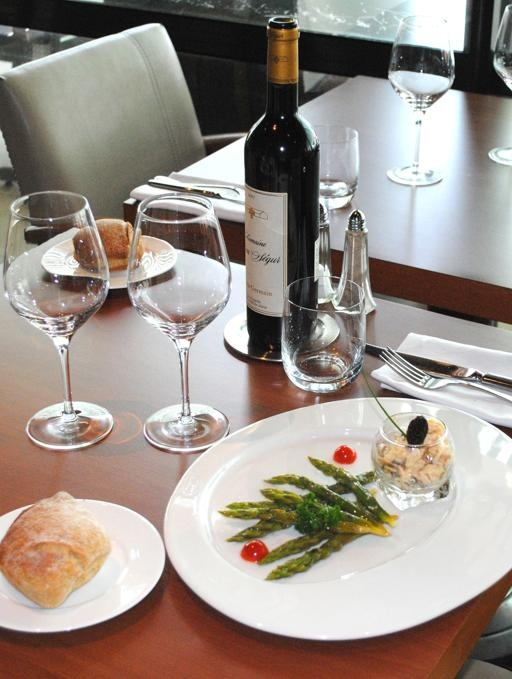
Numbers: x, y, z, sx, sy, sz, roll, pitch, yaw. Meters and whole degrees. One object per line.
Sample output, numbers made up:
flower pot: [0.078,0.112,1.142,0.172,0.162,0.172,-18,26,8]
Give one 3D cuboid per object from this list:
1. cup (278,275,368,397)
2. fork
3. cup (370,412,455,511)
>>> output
cup: [0.054,-0.002,0.673,0.121,0.124,0.115,-2,33,1]
fork: [0.205,0.040,0.644,0.119,0.014,0.016,21,49,27]
cup: [0.129,0.101,0.532,0.068,0.065,0.073,-3,27,1]
